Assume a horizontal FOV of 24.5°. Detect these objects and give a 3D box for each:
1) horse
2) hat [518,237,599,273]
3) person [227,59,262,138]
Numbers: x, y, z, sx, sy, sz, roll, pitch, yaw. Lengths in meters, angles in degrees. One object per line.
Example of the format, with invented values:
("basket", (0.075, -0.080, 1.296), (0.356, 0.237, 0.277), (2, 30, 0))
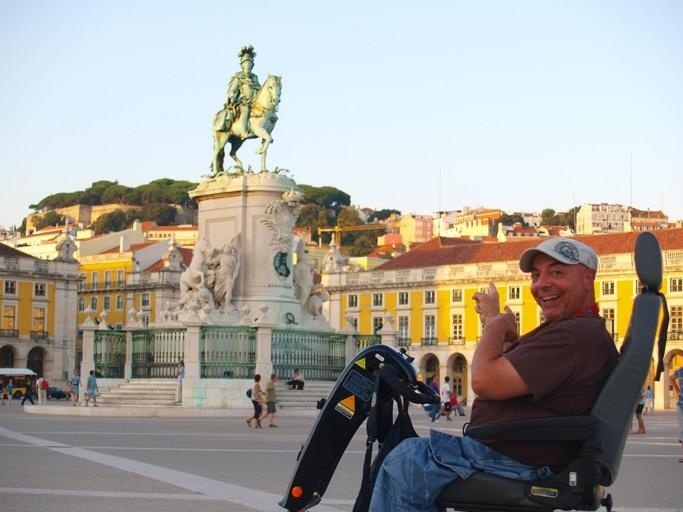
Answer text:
("horse", (-2.687, -3.695, 44.004), (1.001, 2.672, 4.084), (5, -8, -30))
("hat", (2.635, -0.034, 18.572), (0.689, 0.238, 0.467), (13, -13, -40))
("person", (-2.618, -4.554, 43.485), (1.145, 2.664, 0.836), (8, -20, -35))
